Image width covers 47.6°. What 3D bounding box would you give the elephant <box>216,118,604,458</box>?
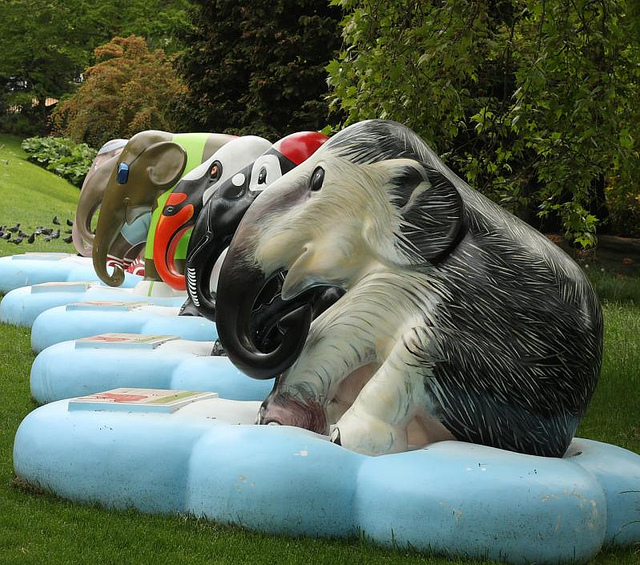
[{"bbox_3d":[0.549,0.051,4.245,2.387,1.606,1.386,5,0,-4],"label":"elephant"}]

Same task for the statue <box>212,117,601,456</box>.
[{"bbox_3d":[0.591,-0.027,4.297,2.461,1.649,1.430,2,7,-5],"label":"statue"}]

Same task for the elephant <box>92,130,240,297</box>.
[{"bbox_3d":[-1.416,-0.689,7.858,2.127,1.695,1.231,8,2,14],"label":"elephant"}]

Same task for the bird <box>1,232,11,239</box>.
[{"bbox_3d":[-5.735,-0.867,13.291,0.184,0.063,0.138,-13,10,34],"label":"bird"}]
